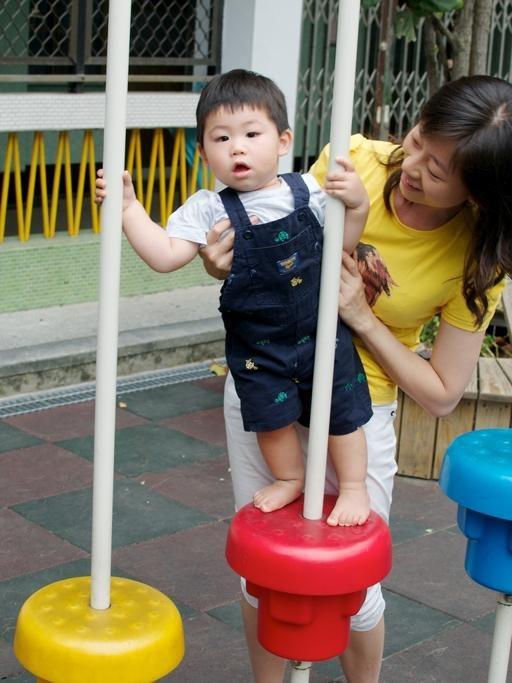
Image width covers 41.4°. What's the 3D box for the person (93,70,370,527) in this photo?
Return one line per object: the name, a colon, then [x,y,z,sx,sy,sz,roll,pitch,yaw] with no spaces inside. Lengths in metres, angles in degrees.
person: [0.028,-0.078,1.267,0.543,0.887,0.410,-1,11,-11]
